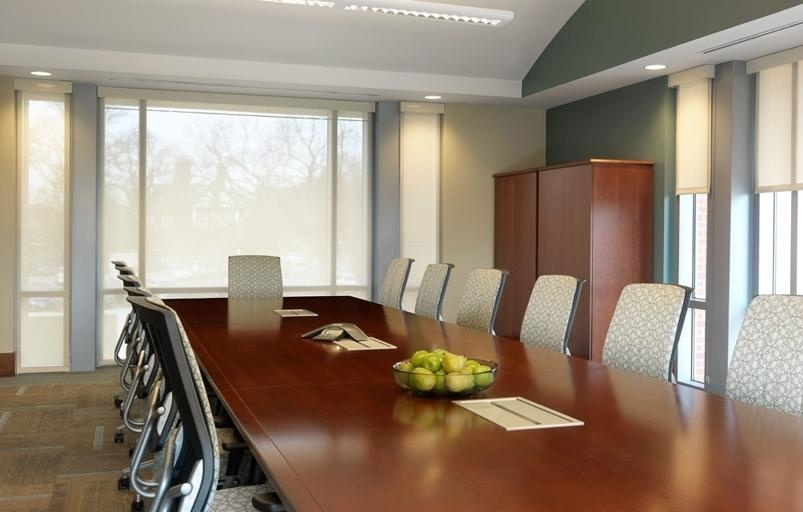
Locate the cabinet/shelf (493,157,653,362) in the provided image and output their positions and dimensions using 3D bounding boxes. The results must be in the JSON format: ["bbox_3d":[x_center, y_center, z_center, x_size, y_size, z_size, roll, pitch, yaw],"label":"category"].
[{"bbox_3d":[2.213,-0.204,7.267,0.890,2.394,2.238,-2,3,-18],"label":"cabinet/shelf"}]
